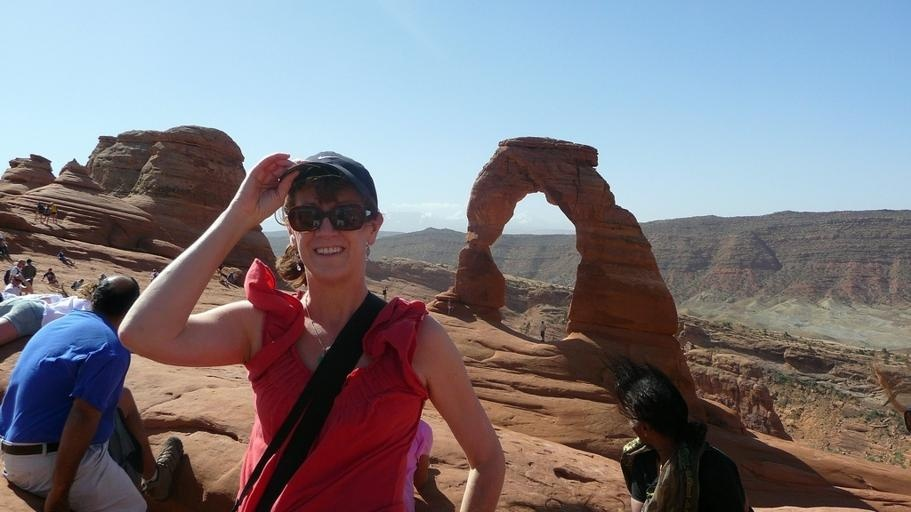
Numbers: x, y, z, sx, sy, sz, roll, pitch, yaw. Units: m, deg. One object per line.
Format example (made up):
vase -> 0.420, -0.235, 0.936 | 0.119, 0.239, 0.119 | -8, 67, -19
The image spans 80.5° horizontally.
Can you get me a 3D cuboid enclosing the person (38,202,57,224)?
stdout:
person -> -16.658, -1.761, 21.912 | 0.738, 0.835, 1.182 | 0, 2, -42
